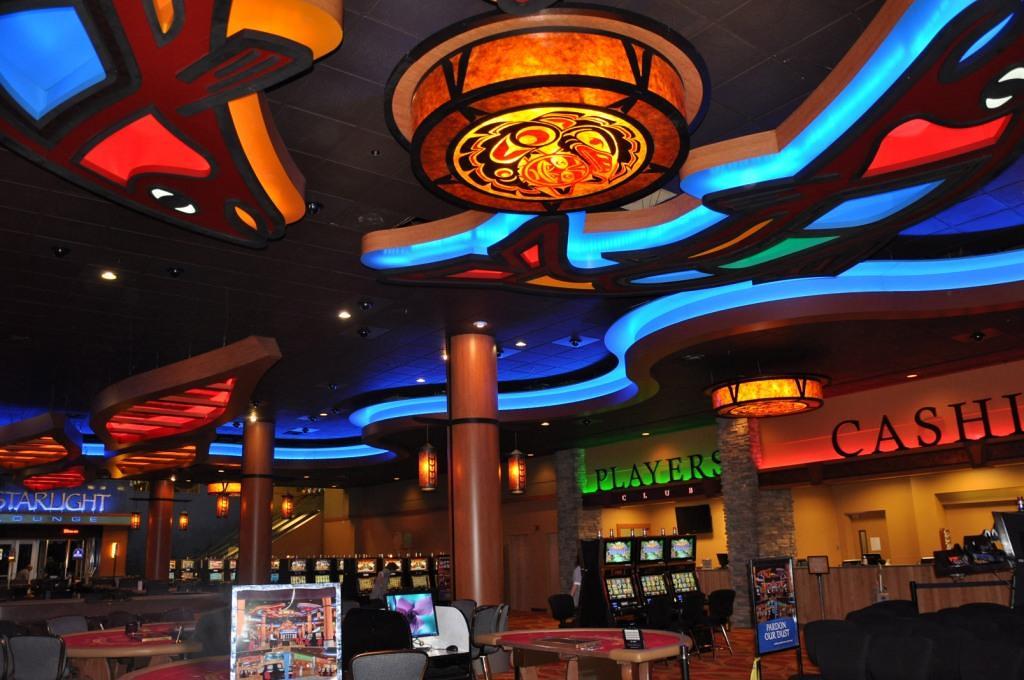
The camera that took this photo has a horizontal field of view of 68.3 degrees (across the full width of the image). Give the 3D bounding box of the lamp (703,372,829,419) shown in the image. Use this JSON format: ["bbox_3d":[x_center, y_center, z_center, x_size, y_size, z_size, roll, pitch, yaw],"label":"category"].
[{"bbox_3d":[4.263,0.910,12.473,1.777,0.483,1.004,-7,-18,13],"label":"lamp"}]

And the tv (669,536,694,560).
[{"bbox_3d":[3.256,3.941,14.339,0.632,0.374,0.297,3,-9,-28],"label":"tv"}]

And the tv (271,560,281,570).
[{"bbox_3d":[-7.065,6.749,22.702,0.210,0.332,1.015,2,-18,-16],"label":"tv"}]

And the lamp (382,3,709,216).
[{"bbox_3d":[0.311,-1.856,6.229,2.222,0.722,2.080,8,-20,-32],"label":"lamp"}]

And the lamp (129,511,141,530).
[{"bbox_3d":[-12.649,6.057,25.425,0.272,0.522,1.359,7,-20,-28],"label":"lamp"}]

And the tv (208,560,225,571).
[{"bbox_3d":[-9.666,7.339,24.782,0.615,0.283,0.288,0,-9,-2],"label":"tv"}]

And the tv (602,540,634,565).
[{"bbox_3d":[1.912,3.767,13.438,0.644,0.392,0.304,5,-14,-28],"label":"tv"}]

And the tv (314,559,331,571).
[{"bbox_3d":[-5.394,6.450,21.759,0.635,0.304,0.297,1,-6,-5],"label":"tv"}]

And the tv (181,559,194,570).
[{"bbox_3d":[-11.122,7.714,26.053,0.393,0.274,0.085,1,-15,2],"label":"tv"}]
